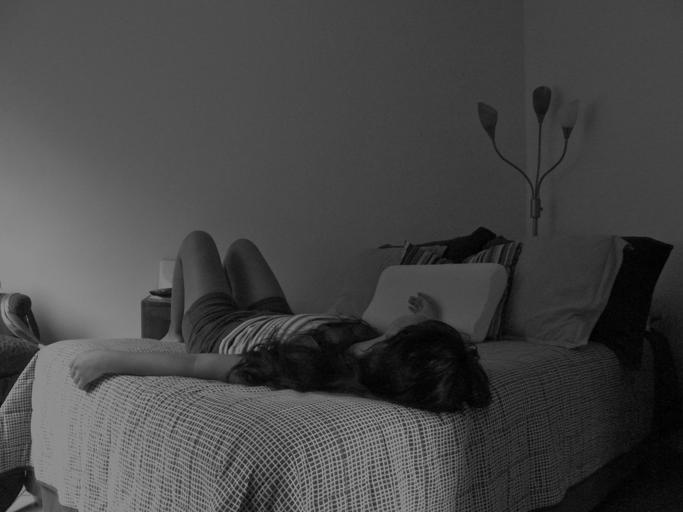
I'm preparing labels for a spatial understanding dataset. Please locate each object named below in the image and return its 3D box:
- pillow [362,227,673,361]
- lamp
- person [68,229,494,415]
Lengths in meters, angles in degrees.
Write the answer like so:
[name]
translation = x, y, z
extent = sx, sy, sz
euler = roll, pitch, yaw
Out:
[pillow]
translation = 0.725, 0.156, 2.024
extent = 0.714, 0.207, 0.529
euler = -8, 10, 36
[lamp]
translation = 1.035, -0.514, 2.999
extent = 0.460, 0.929, 1.354
euler = 3, 17, 12
[person]
translation = -0.054, 0.226, 2.001
extent = 1.317, 0.548, 1.028
euler = -1, -10, 16
